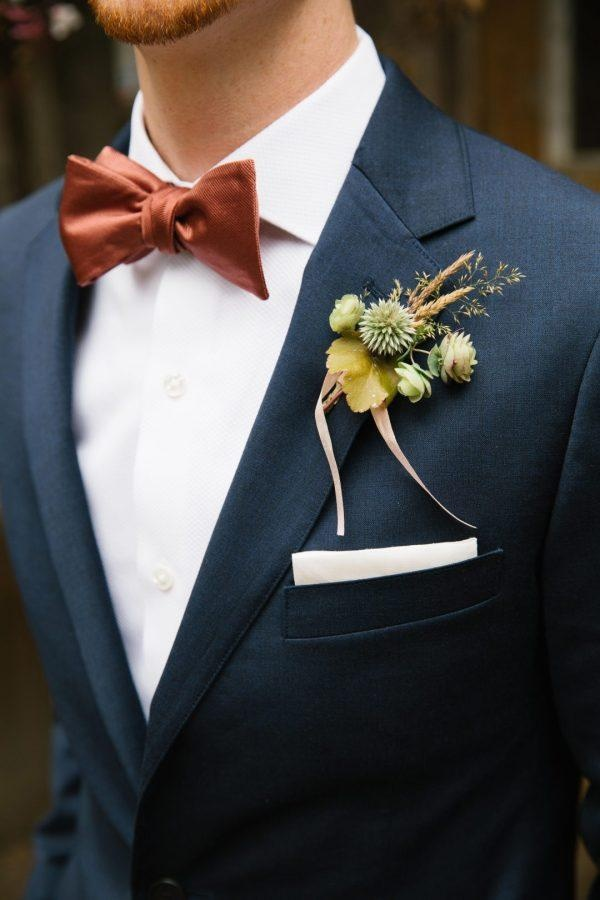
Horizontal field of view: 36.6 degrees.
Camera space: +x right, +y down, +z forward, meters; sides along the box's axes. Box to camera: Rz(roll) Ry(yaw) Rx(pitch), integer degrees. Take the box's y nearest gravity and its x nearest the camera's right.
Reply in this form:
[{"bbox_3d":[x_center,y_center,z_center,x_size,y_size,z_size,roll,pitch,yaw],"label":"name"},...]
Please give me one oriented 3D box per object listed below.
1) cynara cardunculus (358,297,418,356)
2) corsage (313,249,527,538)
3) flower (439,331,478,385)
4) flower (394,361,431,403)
[{"bbox_3d":[0.094,-0.130,0.983,0.067,0.034,0.057,-6,85,-2],"label":"cynara cardunculus"},{"bbox_3d":[0.121,-0.069,1.000,0.191,0.174,0.341,8,69,16],"label":"corsage"},{"bbox_3d":[0.157,-0.104,0.979,0.060,0.027,0.037,-9,64,-4],"label":"flower"},{"bbox_3d":[0.130,-0.071,1.007,0.022,0.043,0.041,-43,48,-11],"label":"flower"}]
